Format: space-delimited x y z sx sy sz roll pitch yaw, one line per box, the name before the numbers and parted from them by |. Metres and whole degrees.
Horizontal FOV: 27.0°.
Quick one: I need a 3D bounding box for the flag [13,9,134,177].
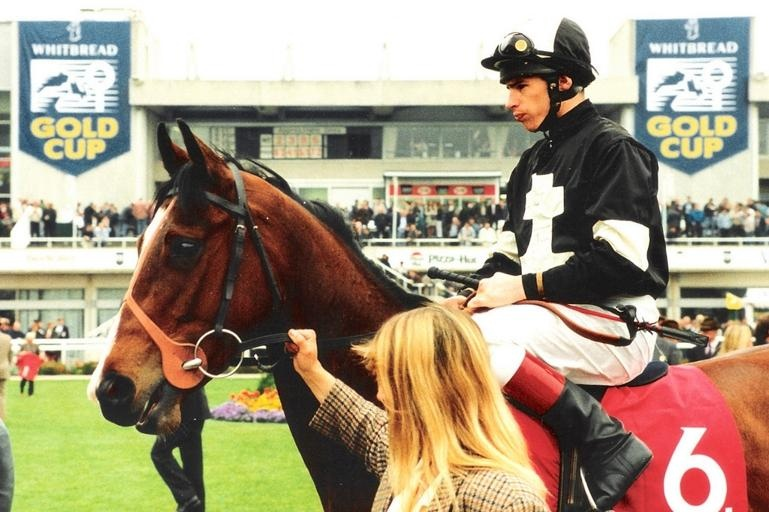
flag | -11.677 -5.969 60.357 4.146 5.945 1.536 1 1 -12
